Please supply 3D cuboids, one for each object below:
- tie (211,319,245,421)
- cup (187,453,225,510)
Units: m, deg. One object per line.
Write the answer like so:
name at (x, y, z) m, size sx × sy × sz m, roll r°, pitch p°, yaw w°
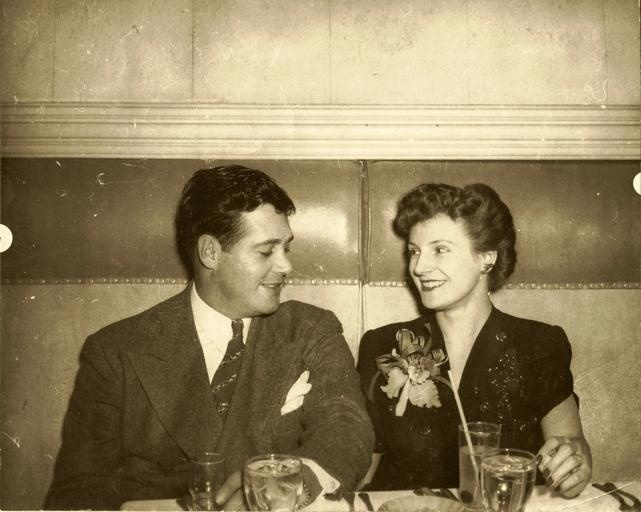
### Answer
tie at (-0.301, 0.382, 2.822) m, size 0.074 × 0.389 × 0.096 m, roll 1°, pitch -4°, yaw 1°
cup at (-0.341, 0.684, 2.600) m, size 0.099 × 0.164 × 0.114 m, roll 1°, pitch -3°, yaw -4°
